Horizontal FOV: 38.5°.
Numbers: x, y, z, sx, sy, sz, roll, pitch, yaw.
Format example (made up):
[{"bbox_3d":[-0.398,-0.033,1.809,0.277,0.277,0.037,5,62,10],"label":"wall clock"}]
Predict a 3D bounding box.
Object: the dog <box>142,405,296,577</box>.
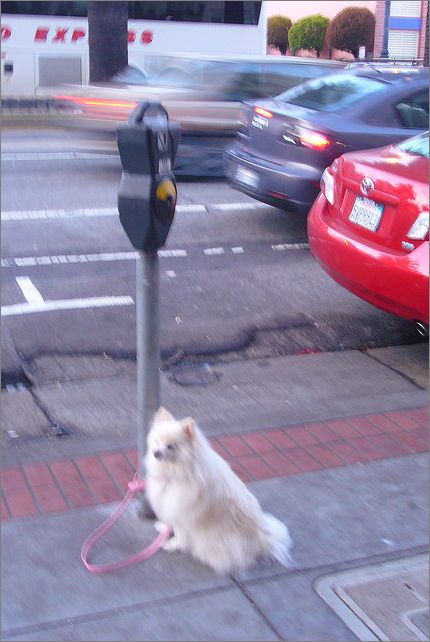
[{"bbox_3d":[0.040,0.684,2.399,0.582,0.543,0.414,12,5,-1],"label":"dog"}]
